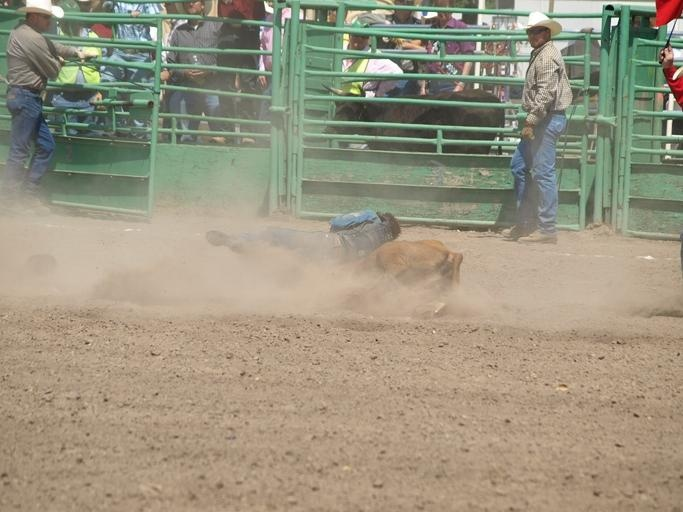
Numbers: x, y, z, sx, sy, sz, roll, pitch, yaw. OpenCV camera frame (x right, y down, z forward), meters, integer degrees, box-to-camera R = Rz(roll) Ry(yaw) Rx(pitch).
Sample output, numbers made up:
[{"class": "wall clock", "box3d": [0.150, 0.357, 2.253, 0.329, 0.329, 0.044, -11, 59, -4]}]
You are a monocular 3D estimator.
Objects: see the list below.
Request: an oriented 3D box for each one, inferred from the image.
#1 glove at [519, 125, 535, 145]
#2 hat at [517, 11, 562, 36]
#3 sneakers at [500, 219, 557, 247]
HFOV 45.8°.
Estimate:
[{"class": "glove", "box3d": [1.963, -1.270, 8.546, 0.195, 0.237, 0.140, 2, 7, -5]}, {"class": "hat", "box3d": [2.157, -2.481, 8.602, 0.340, 0.239, 0.496, 5, 7, 16]}, {"class": "sneakers", "box3d": [2.070, -0.265, 8.916, 0.706, 0.279, 0.227, 9, 8, 24]}]
